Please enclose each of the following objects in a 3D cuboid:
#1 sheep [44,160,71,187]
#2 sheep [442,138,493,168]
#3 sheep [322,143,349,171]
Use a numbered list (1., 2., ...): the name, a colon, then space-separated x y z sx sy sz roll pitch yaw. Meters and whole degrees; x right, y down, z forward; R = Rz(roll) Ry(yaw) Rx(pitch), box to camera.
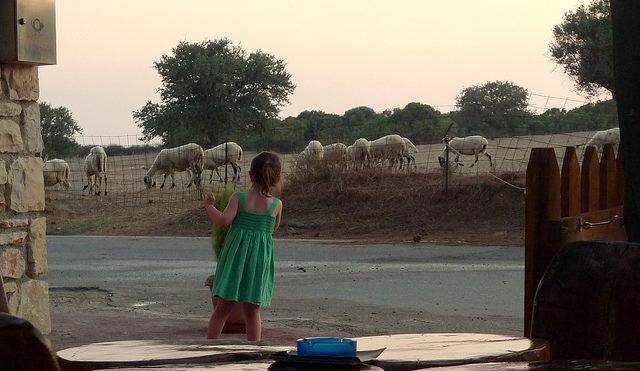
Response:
1. sheep: -11.930 -0.607 44.727 0.919 1.096 1.164 -1 -1 -1
2. sheep: 6.371 -1.541 43.911 2.506 1.267 0.607 0 -1 43
3. sheep: 0.477 -0.908 34.134 0.901 0.838 1.005 -1 -1 1
